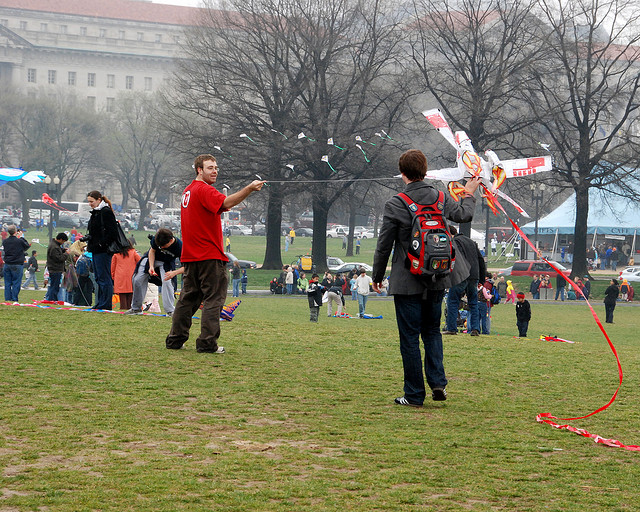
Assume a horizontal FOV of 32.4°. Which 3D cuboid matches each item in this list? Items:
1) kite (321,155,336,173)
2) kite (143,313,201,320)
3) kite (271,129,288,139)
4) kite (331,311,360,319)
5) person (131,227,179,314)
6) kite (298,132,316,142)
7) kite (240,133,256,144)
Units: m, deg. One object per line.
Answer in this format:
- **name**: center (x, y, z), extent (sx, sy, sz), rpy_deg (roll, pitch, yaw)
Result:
- **kite**: center (0.438, -4.191, 50.045), extent (0.668, 0.225, 1.215), rpy_deg (-28, -27, 8)
- **kite**: center (-3.105, 1.265, 22.959), extent (1.226, 0.063, 0.531), rpy_deg (2, -1, 16)
- **kite**: center (-1.879, -5.613, 50.869), extent (0.774, 0.210, 0.532), rpy_deg (7, 4, 12)
- **kite**: center (0.898, 1.973, 35.982), extent (0.874, 0.289, 0.242), rpy_deg (0, 16, -2)
- **person**: center (-3.294, 0.234, 22.161), extent (0.984, 1.834, 0.723), rpy_deg (1, 0, 35)
- **kite**: center (-0.588, -4.787, 43.788), extent (0.566, 0.195, 0.346), rpy_deg (14, -8, -24)
- **kite**: center (-3.285, -5.320, 50.092), extent (0.522, 0.197, 1.519), rpy_deg (-30, 25, -17)
